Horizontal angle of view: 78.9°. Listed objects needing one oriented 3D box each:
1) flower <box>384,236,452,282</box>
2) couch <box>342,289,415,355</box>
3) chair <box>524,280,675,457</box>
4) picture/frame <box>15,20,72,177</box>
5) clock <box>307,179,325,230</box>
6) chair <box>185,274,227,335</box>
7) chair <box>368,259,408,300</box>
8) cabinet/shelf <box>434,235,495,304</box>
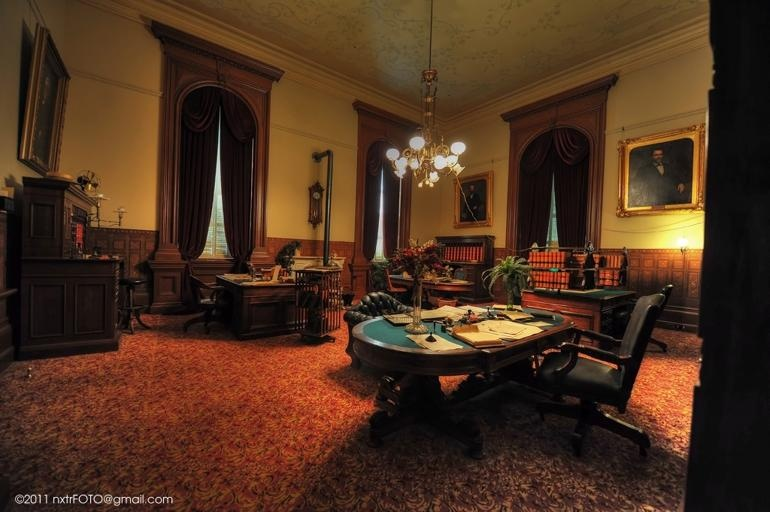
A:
[{"bbox_3d":[0.406,0.068,5.740,0.595,0.484,0.540,0,2,13],"label":"flower"},{"bbox_3d":[-0.105,0.902,6.740,0.965,1.021,0.868,2,-11,-14],"label":"couch"},{"bbox_3d":[2.737,1.461,6.123,1.655,2.349,1.746,2,-1,30],"label":"chair"},{"bbox_3d":[-5.260,-2.314,7.218,0.373,2.099,1.260,-1,3,-22],"label":"picture/frame"},{"bbox_3d":[-1.557,-1.154,10.682,0.410,1.015,0.142,-3,4,-42],"label":"clock"},{"bbox_3d":[-3.187,0.822,8.408,0.922,1.155,1.029,1,1,-22],"label":"chair"},{"bbox_3d":[0.092,0.533,11.152,0.896,1.287,0.874,0,-1,-6],"label":"chair"},{"bbox_3d":[1.893,0.366,10.716,0.592,1.510,1.545,3,-5,-34],"label":"cabinet/shelf"}]
